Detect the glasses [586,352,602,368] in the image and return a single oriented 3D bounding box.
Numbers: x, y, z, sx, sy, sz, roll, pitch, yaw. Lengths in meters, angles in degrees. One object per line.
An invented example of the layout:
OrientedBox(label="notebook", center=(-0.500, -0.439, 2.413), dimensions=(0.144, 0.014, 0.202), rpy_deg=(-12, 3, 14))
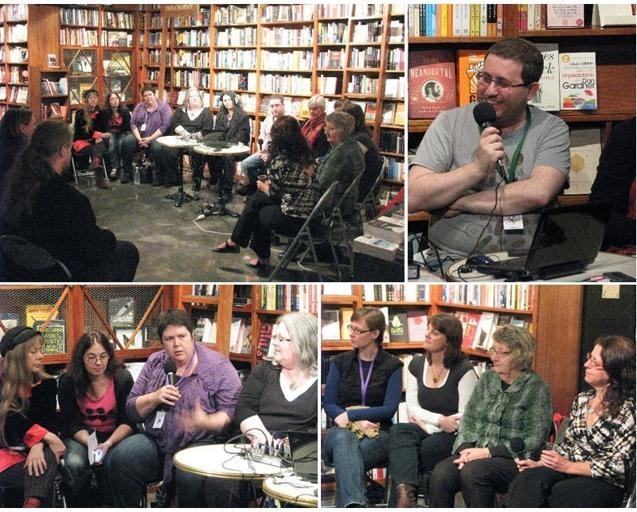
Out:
OrientedBox(label="glasses", center=(1.605, 0.599, 3.066), dimensions=(0.077, 0.083, 0.039), rpy_deg=(9, 37, 39))

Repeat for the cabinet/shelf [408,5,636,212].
OrientedBox(label="cabinet/shelf", center=(1.161, -0.868, 3.066), dimensions=(0.690, 1.230, 1.536), rpy_deg=(5, 7, 36))

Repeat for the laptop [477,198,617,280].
OrientedBox(label="laptop", center=(1.035, -0.072, 2.402), dimensions=(0.582, 0.355, 0.165), rpy_deg=(0, 6, -16))

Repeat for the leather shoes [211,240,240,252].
OrientedBox(label="leather shoes", center=(-0.608, -0.064, 3.364), dimensions=(0.144, 0.068, 0.072), rpy_deg=(5, 0, -1))

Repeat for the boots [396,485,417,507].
OrientedBox(label="boots", center=(0.497, 1.350, 2.988), dimensions=(0.082, 0.138, 0.133), rpy_deg=(-7, -12, 31))

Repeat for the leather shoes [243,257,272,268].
OrientedBox(label="leather shoes", center=(-0.405, 0.032, 3.363), dimensions=(0.138, 0.062, 0.076), rpy_deg=(16, 6, -1))

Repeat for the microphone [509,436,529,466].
OrientedBox(label="microphone", center=(1.137, 1.104, 2.999), dimensions=(0.084, 0.137, 0.037), rpy_deg=(2, 5, 3))

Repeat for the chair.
OrientedBox(label="chair", center=(0.174, -0.268, 3.877), dimensions=(0.844, 1.231, 0.659), rpy_deg=(2, 4, 12))

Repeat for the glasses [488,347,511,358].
OrientedBox(label="glasses", center=(1.071, 0.571, 3.105), dimensions=(0.073, 0.025, 0.072), rpy_deg=(8, -4, -25))

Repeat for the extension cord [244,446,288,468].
OrientedBox(label="extension cord", center=(-0.322, 1.144, 2.991), dimensions=(0.246, 0.089, 0.056), rpy_deg=(3, 6, 14))

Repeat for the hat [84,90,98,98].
OrientedBox(label="hat", center=(-1.477, -1.062, 3.402), dimensions=(0.050, 0.058, 0.066), rpy_deg=(-26, 33, -29))

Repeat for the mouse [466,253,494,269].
OrientedBox(label="mouse", center=(0.749, 0.019, 2.442), dimensions=(0.094, 0.032, 0.067), rpy_deg=(-2, 11, -33))

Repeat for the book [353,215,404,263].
OrientedBox(label="book", center=(0.375, -0.112, 3.286), dimensions=(0.272, 0.294, 0.067), rpy_deg=(3, -17, 13))

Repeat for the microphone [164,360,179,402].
OrientedBox(label="microphone", center=(-0.906, 0.767, 3.214), dimensions=(0.063, 0.065, 0.248), rpy_deg=(31, 21, -35))

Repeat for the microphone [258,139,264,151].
OrientedBox(label="microphone", center=(-0.380, -0.743, 3.474), dimensions=(0.017, 0.061, 0.043), rpy_deg=(4, 2, -32))

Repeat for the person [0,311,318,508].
OrientedBox(label="person", center=(-0.979, 0.964, 3.164), dimensions=(1.069, 1.071, 0.355), rpy_deg=(0, 3, 5))
